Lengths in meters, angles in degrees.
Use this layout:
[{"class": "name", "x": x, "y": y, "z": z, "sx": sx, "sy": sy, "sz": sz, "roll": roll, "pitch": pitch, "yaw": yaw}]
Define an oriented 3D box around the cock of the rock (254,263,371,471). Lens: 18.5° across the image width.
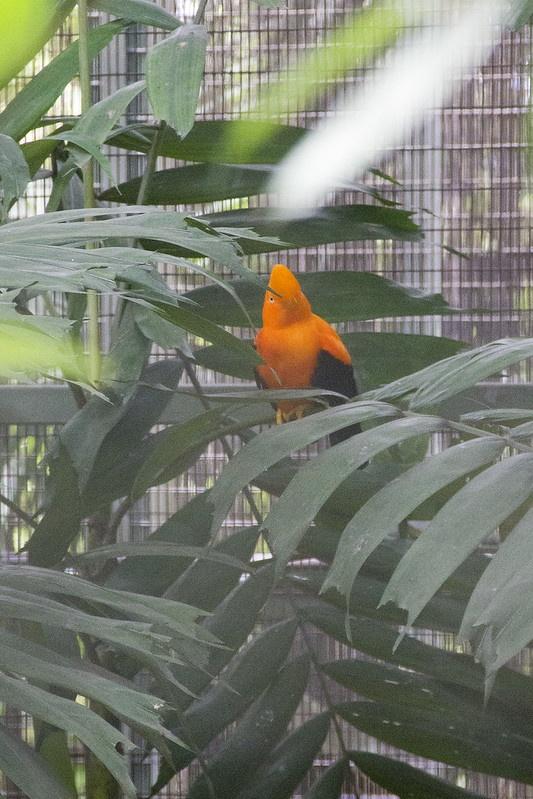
[{"class": "cock of the rock", "x": 0.043, "y": -0.052, "z": 1.945, "sx": 0.107, "sy": 0.226, "sz": 0.220, "roll": 2, "pitch": 6, "yaw": 16}]
